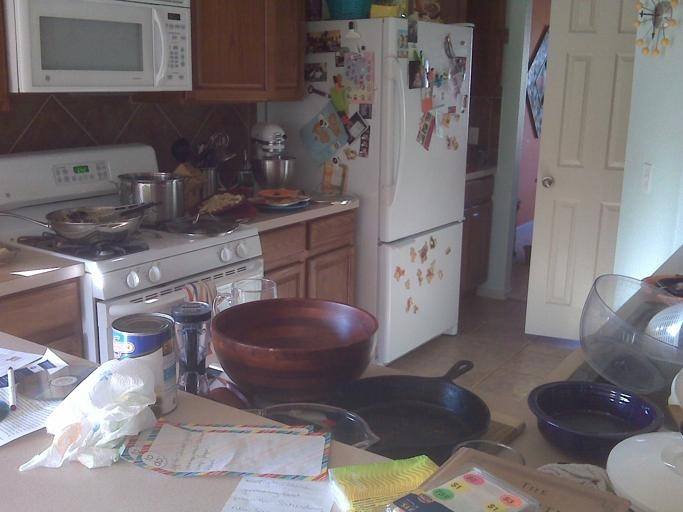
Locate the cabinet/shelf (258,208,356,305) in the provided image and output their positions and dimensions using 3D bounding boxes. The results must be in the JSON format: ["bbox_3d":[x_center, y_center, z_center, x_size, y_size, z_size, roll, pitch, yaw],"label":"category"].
[{"bbox_3d":[-0.187,-0.019,2.641,0.148,0.416,0.432,11,21,32],"label":"cabinet/shelf"}]

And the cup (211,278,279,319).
[{"bbox_3d":[-0.237,0.110,1.309,0.129,0.117,0.084,5,18,17],"label":"cup"}]

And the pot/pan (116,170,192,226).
[{"bbox_3d":[-0.869,-0.293,2.442,0.267,0.222,0.292,4,22,9],"label":"pot/pan"}]

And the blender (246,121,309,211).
[{"bbox_3d":[-0.448,-0.493,2.924,0.297,0.400,0.547,-7,16,-21],"label":"blender"}]

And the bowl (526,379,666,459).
[{"bbox_3d":[0.494,0.315,1.031,0.218,0.084,0.229,-8,12,2],"label":"bowl"}]

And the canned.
[{"bbox_3d":[-0.382,0.200,1.028,0.109,0.169,0.228,-2,12,-23],"label":"canned"}]

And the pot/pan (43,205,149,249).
[{"bbox_3d":[-0.989,-0.130,2.105,0.313,0.099,0.210,-1,8,-2],"label":"pot/pan"}]

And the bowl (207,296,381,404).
[{"bbox_3d":[-0.104,0.209,1.109,0.344,0.190,0.272,4,11,7],"label":"bowl"}]
